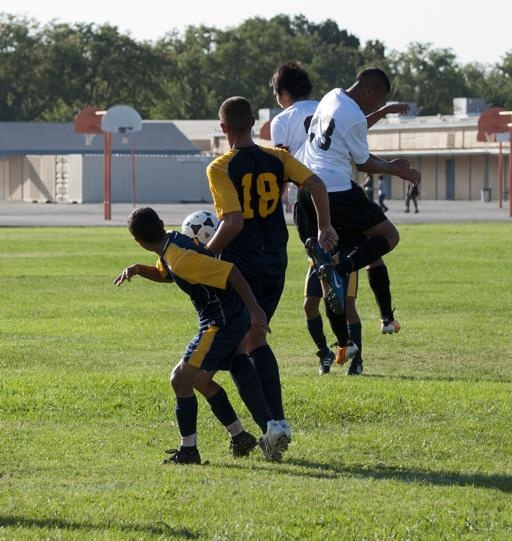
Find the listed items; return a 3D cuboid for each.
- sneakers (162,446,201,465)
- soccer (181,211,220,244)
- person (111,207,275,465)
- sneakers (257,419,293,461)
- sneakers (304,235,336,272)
[{"bbox_3d":[-0.411,0.996,6.982,0.204,0.093,0.293,-2,3,-4],"label":"sneakers"},{"bbox_3d":[-0.428,-0.320,8.938,0.274,0.258,0.235,10,3,-19],"label":"soccer"},{"bbox_3d":[-0.304,0.341,7.059,0.767,1.390,0.505,-1,3,6],"label":"person"},{"bbox_3d":[0.099,0.923,6.897,0.097,0.129,0.278,-8,-40,-19],"label":"sneakers"},{"bbox_3d":[0.395,-0.100,8.100,0.097,0.225,0.132,-32,16,-30],"label":"sneakers"}]
